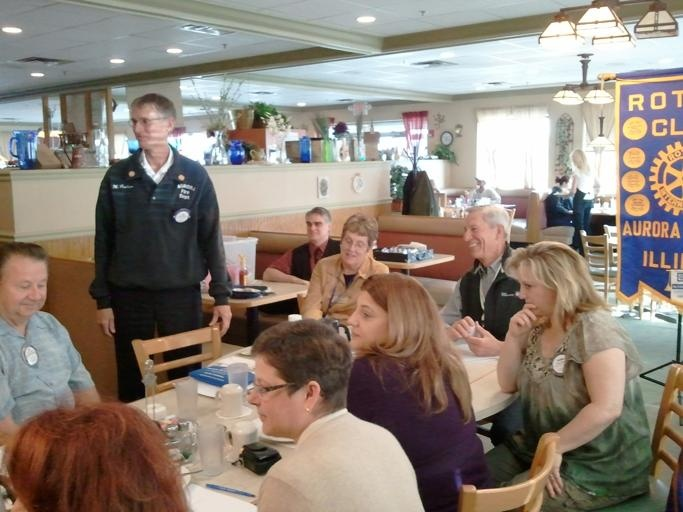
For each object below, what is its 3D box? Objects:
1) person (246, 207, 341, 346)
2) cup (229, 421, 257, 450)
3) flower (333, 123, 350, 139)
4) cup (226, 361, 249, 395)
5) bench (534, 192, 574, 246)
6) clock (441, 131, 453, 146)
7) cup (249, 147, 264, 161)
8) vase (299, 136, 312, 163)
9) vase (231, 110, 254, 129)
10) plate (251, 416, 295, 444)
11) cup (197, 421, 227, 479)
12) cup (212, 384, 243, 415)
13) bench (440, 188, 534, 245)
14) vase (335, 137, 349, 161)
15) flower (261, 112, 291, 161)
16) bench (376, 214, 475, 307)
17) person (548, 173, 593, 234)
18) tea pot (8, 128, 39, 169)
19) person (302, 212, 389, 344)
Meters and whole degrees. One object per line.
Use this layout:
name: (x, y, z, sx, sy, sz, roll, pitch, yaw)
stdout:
person: (-0.305, 0.421, 4.575, 0.700, 1.640, 0.539, 3, -8, 16)
cup: (-0.318, 0.587, 1.732, 0.091, 0.086, 0.066, 0, 4, 6)
flower: (-0.004, -1.659, 6.983, 0.245, 0.097, 0.249, -6, 41, -6)
cup: (-0.413, 0.512, 2.183, 0.105, 0.112, 0.102, 0, 0, 0)
bench: (3.755, -0.664, 9.265, 0.701, 0.854, 0.560, 5, 10, 26)
clock: (2.936, -3.267, 14.744, 0.355, 0.344, 0.084, 2, 1, 36)
cup: (-0.958, -1.153, 5.991, 0.169, 0.155, 0.138, -2, 6, -12)
vase: (-0.431, -1.280, 6.389, 0.141, 0.289, 0.092, -2, 6, -6)
vase: (-1.222, -1.684, 6.556, 0.256, 0.203, 0.230, -3, 9, -11)
plate: (-0.230, 0.609, 1.823, 0.143, 0.033, 0.120, 11, -3, -37)
cup: (-0.417, 0.600, 1.695, 0.082, 0.154, 0.148, -3, 6, -13)
cup: (-0.427, 0.561, 2.067, 0.087, 0.117, 0.126, 0, -3, -28)
bench: (3.252, -0.913, 11.353, 1.975, 0.940, 1.396, 3, 15, 23)
vase: (0.023, -1.378, 6.819, 0.149, 0.318, 0.304, -1, 6, 4)
flower: (-0.786, -1.443, 6.444, 0.302, 0.656, 0.649, -2, 6, -4)
bench: (0.938, -0.146, 6.367, 1.346, 1.248, 0.958, 3, 5, 36)
person: (4.002, -0.830, 9.262, 0.643, 1.060, 0.502, -1, -8, 42)
tea pot: (-2.646, -0.888, 4.409, 0.192, 0.349, 0.447, -4, 6, -29)
person: (0.010, 0.134, 3.457, 0.632, 0.759, 0.597, -5, 19, -43)
